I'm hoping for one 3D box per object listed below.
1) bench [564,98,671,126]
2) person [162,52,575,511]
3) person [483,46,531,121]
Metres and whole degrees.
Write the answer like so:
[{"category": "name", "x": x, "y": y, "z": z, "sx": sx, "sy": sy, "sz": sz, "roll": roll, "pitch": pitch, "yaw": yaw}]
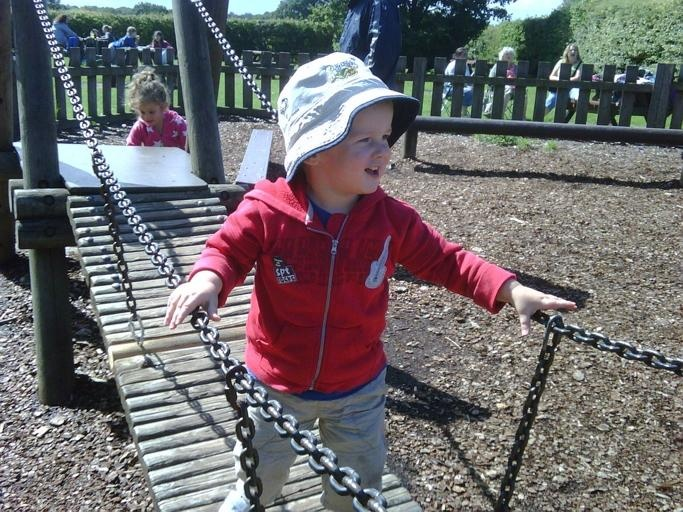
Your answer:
[{"category": "bench", "x": 4.459, "y": -2.374, "z": 9.844, "sx": 1.657, "sy": 0.540, "sz": 0.941, "roll": 17, "pitch": 21, "yaw": 38}, {"category": "person", "x": -0.053, "y": 0.150, "z": 2.344, "sx": 1.192, "sy": 1.780, "sz": 0.649, "roll": -2, "pitch": 16, "yaw": -16}, {"category": "person", "x": 2.971, "y": -3.029, "z": 10.901, "sx": 0.643, "sy": 1.407, "sz": 0.673, "roll": 0, "pitch": 19, "yaw": 18}]
